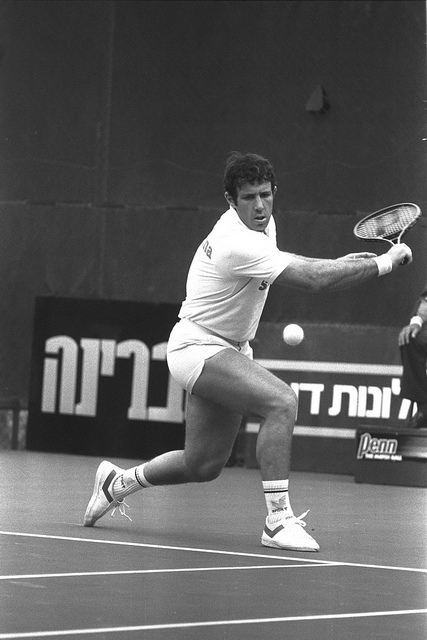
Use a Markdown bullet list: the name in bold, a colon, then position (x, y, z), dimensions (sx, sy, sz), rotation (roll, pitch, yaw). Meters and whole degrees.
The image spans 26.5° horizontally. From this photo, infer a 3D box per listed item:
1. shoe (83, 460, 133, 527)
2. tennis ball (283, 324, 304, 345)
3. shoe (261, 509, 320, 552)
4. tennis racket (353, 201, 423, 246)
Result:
- **shoe**: position (-0.278, 0.475, 2.530), dimensions (0.122, 0.094, 0.284), rotation (-29, -7, 16)
- **tennis ball**: position (0.358, 0.059, 4.236), dimensions (0.085, 0.097, 0.086), rotation (-1, -30, -1)
- **shoe**: position (0.180, 0.500, 2.177), dimensions (0.066, 0.100, 0.173), rotation (11, -10, -40)
- **tennis racket**: position (0.564, -0.296, 2.702), dimensions (0.147, 0.027, 0.353), rotation (-34, 12, -7)
